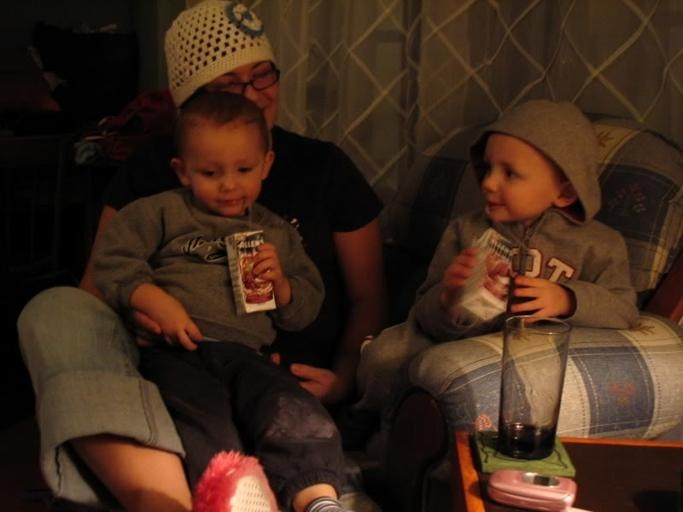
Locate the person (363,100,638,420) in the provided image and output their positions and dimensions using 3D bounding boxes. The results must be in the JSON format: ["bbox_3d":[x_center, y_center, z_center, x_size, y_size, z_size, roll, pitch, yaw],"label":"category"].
[{"bbox_3d":[0.311,-0.069,1.705,0.690,0.976,0.641,-4,16,-21],"label":"person"}]
